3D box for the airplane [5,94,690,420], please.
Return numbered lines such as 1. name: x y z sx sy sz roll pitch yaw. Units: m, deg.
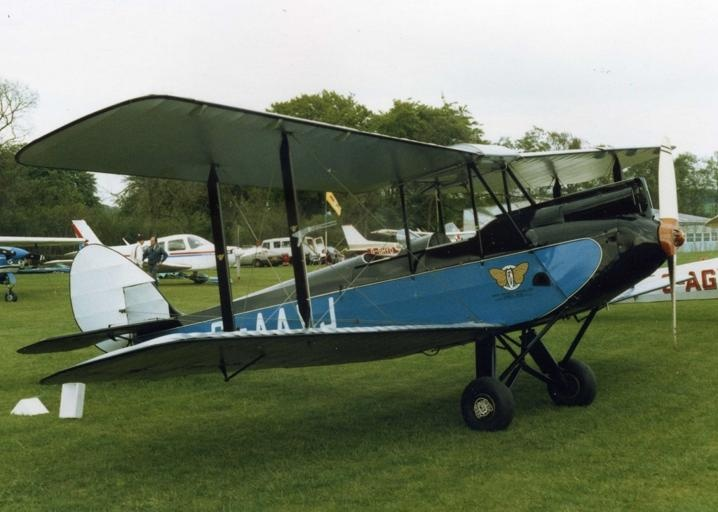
1. airplane: 0.382 -0.019 7.782 4.424 1.502 5.622 -3 -2 39
